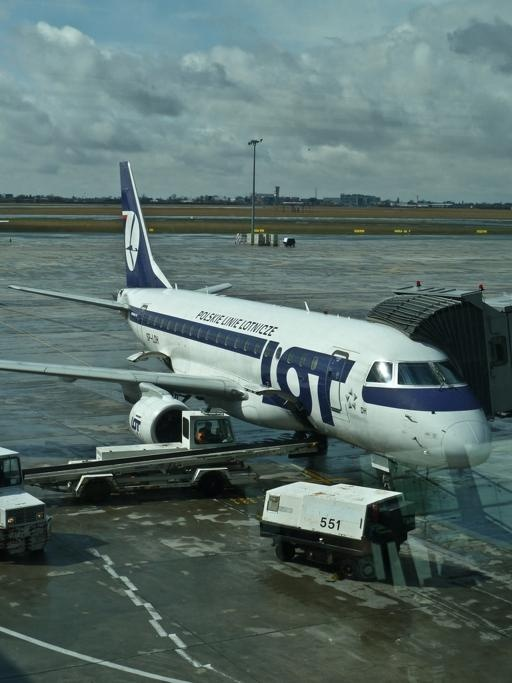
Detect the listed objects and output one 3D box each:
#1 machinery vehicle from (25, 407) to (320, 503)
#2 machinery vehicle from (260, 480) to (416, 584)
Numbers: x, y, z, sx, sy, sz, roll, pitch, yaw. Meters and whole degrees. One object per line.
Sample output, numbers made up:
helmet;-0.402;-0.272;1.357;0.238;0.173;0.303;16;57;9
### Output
machinery vehicle;-2.394;3.290;20.530;8.806;1.822;1.791;0;-1;-22
machinery vehicle;1.490;3.948;14.965;2.933;1.250;1.888;1;1;34
